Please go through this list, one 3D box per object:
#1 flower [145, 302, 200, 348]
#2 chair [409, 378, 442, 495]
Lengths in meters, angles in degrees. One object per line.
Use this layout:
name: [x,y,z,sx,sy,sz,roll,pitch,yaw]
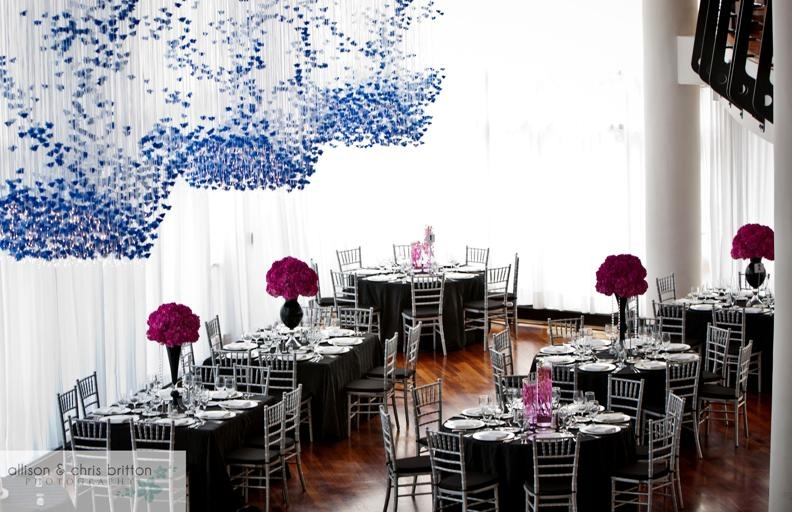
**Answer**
flower: [-2.220,0.664,7.225,0.397,0.515,0.464,1,-2,-1]
chair: [0.365,1.780,7.228,0.390,0.806,0.431,-1,1,28]
